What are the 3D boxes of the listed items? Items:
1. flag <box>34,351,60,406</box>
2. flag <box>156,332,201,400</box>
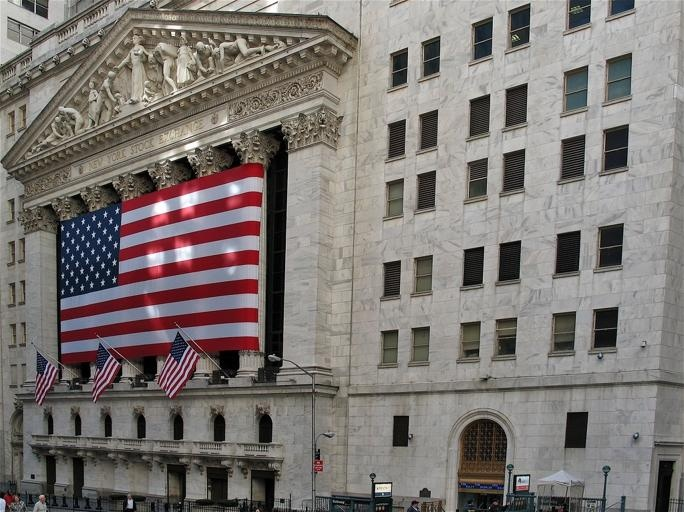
[{"bbox_3d":[-22.820,9.405,153.581,1.136,4.182,2.277,14,-20,-28],"label":"flag"},{"bbox_3d":[-11.672,7.789,144.103,1.323,4.830,2.819,17,-22,-35],"label":"flag"}]
